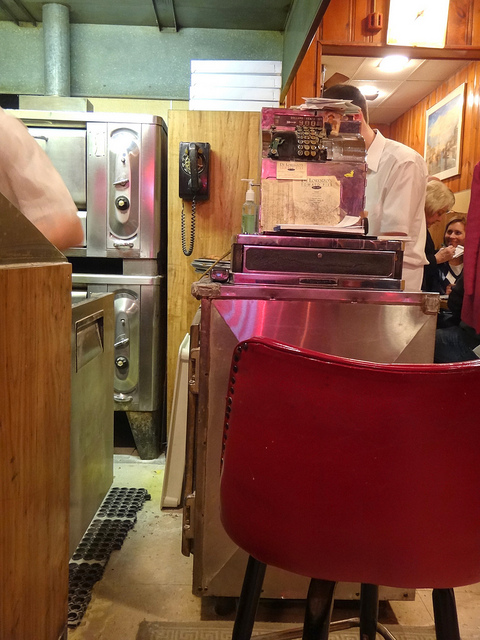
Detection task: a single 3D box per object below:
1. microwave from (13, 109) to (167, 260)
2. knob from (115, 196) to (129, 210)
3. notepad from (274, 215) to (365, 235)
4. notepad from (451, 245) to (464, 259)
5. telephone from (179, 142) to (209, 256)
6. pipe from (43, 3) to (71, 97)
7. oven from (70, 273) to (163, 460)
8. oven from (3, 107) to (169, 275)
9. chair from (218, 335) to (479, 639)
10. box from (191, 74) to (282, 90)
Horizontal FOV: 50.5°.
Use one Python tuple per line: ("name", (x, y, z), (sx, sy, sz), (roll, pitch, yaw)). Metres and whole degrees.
("microwave", (-0.885, -0.520, 2.880), (0.791, 0.915, 0.696), (-1, -22, -13))
("knob", (-0.615, -0.609, 2.648), (0.072, 0.067, 0.047), (0, 4, -10))
("notepad", (0.207, -0.251, 1.308), (0.241, 0.057, 0.074), (0, 4, -18))
("notepad", (1.316, -0.408, 3.087), (0.055, 0.078, 0.184), (3, 4, 22))
("telephone", (-0.248, -0.635, 2.688), (0.154, 0.590, 0.109), (1, 4, 10))
("pipe", (-1.202, -1.753, 3.336), (0.157, 0.543, 0.197), (-1, 4, -23))
("oven", (-0.526, 0.207, 3.004), (0.581, 0.791, 0.674), (-6, 25, -2))
("oven", (-0.776, -0.686, 3.061), (0.908, 1.119, 0.825), (0, 1, 3))
("chair", (0.150, 0.200, 0.790), (0.244, 0.468, 0.281), (4, 11, 0))
("box", (-0.021, -1.484, 3.168), (0.558, 0.083, 0.041), (1, 4, -3))
